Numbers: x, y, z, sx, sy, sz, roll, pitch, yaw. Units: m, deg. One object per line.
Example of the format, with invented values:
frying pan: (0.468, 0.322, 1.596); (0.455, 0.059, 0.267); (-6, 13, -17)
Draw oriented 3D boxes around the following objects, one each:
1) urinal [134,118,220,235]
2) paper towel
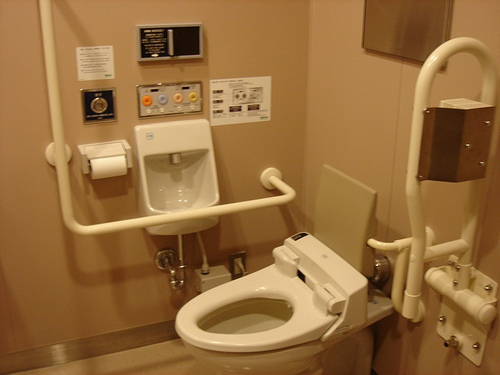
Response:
urinal: (-0.340, -0.091, 1.911); (0.342, 0.574, 0.332); (-7, 31, -21)
paper towel: (-0.629, -0.127, 1.811); (0.221, 0.137, 0.134); (-11, 19, -20)
